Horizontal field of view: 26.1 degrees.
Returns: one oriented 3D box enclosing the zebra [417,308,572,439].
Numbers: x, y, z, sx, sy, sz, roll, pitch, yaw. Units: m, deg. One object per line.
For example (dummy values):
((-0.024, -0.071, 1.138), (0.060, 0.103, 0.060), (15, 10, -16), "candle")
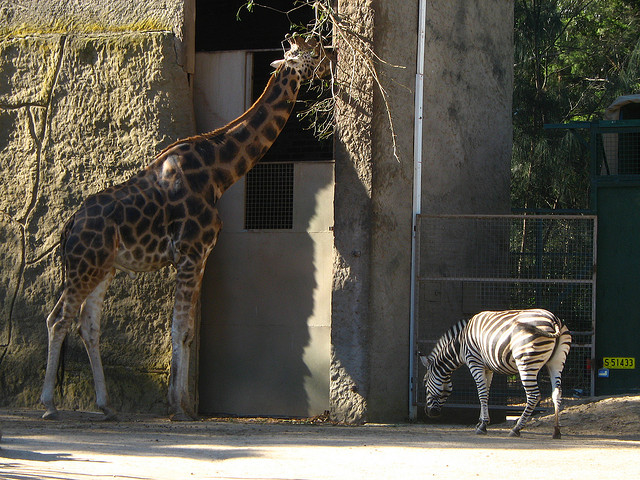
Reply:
((2.074, 1.666, 16.640), (0.633, 1.575, 2.305), (3, -9, -44), "zebra")
